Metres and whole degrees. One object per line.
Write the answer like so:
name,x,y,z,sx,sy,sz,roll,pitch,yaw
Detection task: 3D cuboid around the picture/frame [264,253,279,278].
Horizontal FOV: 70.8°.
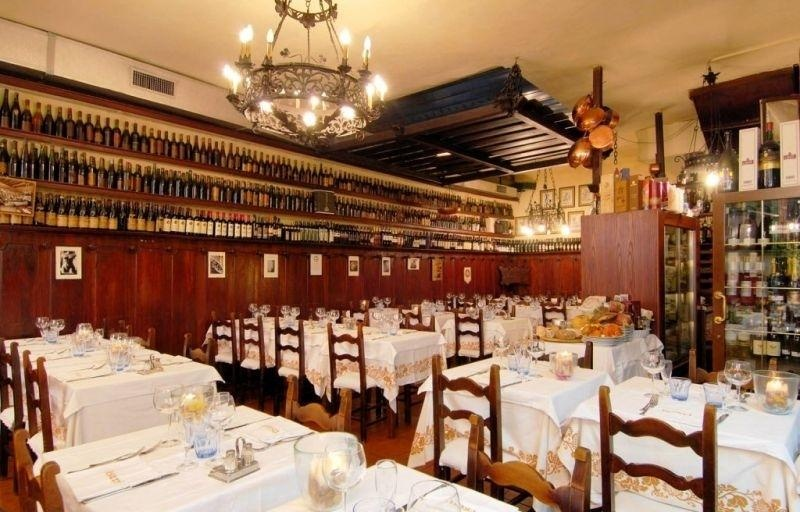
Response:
picture/frame,-2.076,0.164,9.112,0.386,0.546,0.022,1,-2,-43

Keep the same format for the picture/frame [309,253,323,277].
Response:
picture/frame,-1.432,0.159,9.677,0.342,0.481,0.045,10,-16,-42

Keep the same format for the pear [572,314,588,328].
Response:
pear,2.220,0.778,6.859,0.149,0.148,0.147,-33,16,-30

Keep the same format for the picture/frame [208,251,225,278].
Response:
picture/frame,-2.775,0.138,8.545,0.036,0.528,0.386,-4,-5,43
